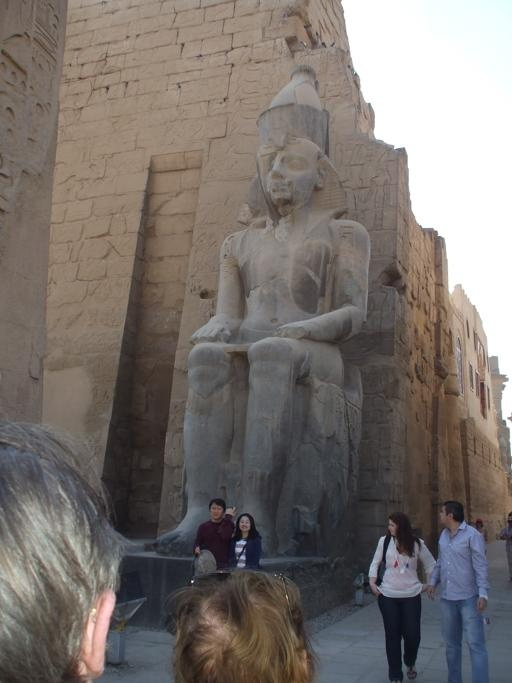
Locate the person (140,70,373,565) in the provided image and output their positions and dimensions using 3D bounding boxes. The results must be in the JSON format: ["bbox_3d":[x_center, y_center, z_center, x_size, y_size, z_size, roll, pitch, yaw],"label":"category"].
[{"bbox_3d":[0.191,-0.471,4.669,1.336,3.909,1.024,2,-14,0],"label":"person"}]
